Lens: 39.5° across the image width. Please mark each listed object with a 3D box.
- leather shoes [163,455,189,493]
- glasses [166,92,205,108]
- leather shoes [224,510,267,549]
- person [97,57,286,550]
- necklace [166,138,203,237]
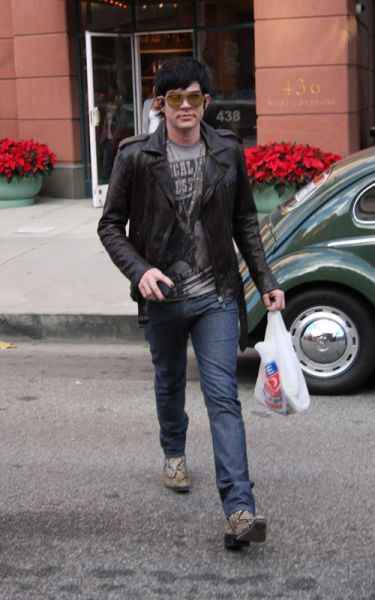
[{"bbox_3d":[-0.059,0.806,2.460,0.086,0.186,0.191,0,14,-10],"label":"leather shoes"},{"bbox_3d":[-0.014,-0.698,1.826,0.132,0.061,0.056,-2,2,0],"label":"glasses"},{"bbox_3d":[0.188,0.742,1.686,0.089,0.125,0.218,12,-31,-25],"label":"leather shoes"},{"bbox_3d":[0.019,0.013,2.028,0.684,1.783,0.762,-1,2,20],"label":"person"},{"bbox_3d":[-0.004,-0.409,1.891,0.101,0.374,0.019,1,-33,-10],"label":"necklace"}]
